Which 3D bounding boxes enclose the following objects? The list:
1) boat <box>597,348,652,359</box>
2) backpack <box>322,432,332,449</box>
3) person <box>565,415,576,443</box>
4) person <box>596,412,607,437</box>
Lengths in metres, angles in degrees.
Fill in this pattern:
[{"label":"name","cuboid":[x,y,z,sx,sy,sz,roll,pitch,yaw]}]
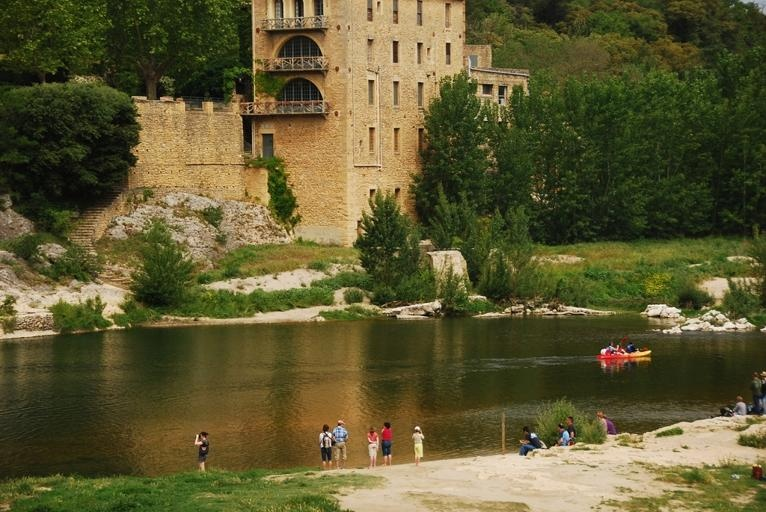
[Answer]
[{"label":"boat","cuboid":[19.500,7.955,108.148,4.129,0.742,1.449,-4,6,-9]},{"label":"backpack","cuboid":[-3.728,12.369,91.128,0.794,0.995,0.403,-4,2,-23]},{"label":"person","cuboid":[12.879,11.913,92.699,0.443,1.393,0.821,-11,-42,16]},{"label":"person","cuboid":[15.254,11.571,93.528,0.641,1.451,1.962,-3,2,9]}]
